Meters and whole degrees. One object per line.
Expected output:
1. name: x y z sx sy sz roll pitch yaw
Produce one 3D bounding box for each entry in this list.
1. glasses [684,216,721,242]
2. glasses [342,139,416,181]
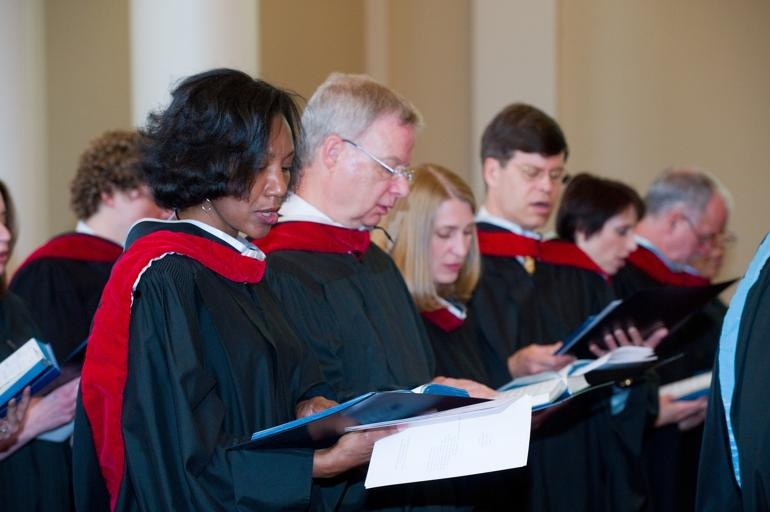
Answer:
1. glasses: 1.565 -0.121 3.539 0.155 0.063 0.119 21 1 -4
2. glasses: -0.007 -0.351 2.550 0.171 0.050 0.167 50 16 23
